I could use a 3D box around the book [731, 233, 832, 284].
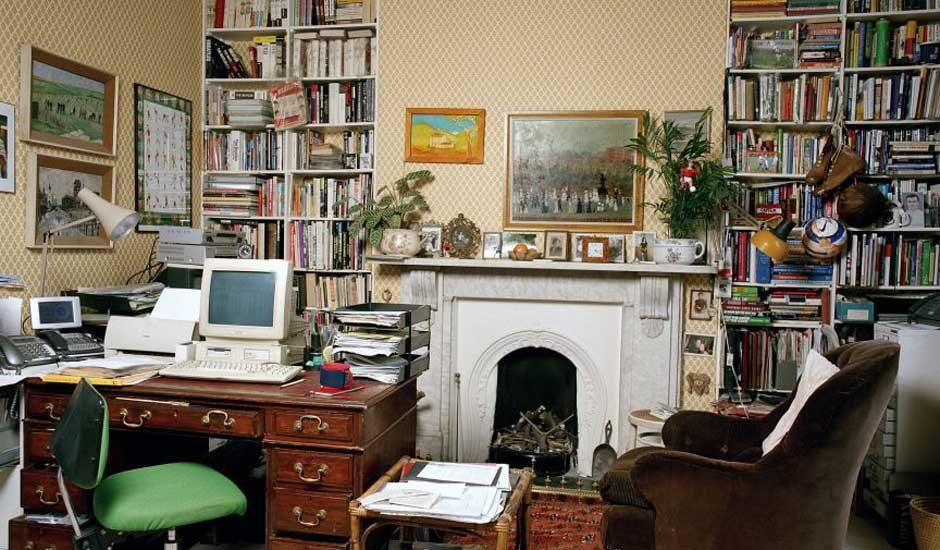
[{"bbox_3d":[2.490,-0.152,6.498,0.610,0.299,0.445,0,3,-3],"label":"book"}]

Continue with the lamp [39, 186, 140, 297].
[{"bbox_3d":[-2.804,-0.246,5.887,0.740,0.811,0.431,1,1,41],"label":"lamp"}]

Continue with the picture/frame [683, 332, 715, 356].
[{"bbox_3d":[1.892,0.572,6.573,0.195,0.139,0.008,2,-1,8],"label":"picture/frame"}]

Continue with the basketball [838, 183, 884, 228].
[{"bbox_3d":[3.059,-0.555,6.374,0.294,0.370,0.303,-4,6,-15],"label":"basketball"}]

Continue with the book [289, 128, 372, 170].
[{"bbox_3d":[-1.184,-1.083,6.924,0.726,0.360,0.217,0,1,13],"label":"book"}]

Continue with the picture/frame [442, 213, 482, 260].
[{"bbox_3d":[-0.058,-0.310,6.734,0.405,0.407,0.018,0,-1,2],"label":"picture/frame"}]

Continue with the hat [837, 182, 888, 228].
[{"bbox_3d":[3.110,-0.567,6.430,0.310,0.394,0.320,-9,15,3],"label":"hat"}]

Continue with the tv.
[{"bbox_3d":[-1.490,0.170,5.649,0.879,0.789,0.498,1,-3,4],"label":"tv"}]

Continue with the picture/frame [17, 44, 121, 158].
[{"bbox_3d":[-3.070,-1.327,6.067,0.164,0.861,0.979,0,-1,33],"label":"picture/frame"}]

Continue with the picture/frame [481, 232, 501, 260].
[{"bbox_3d":[0.186,-0.241,6.715,0.238,0.323,0.030,1,-4,2],"label":"picture/frame"}]

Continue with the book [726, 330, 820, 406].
[{"bbox_3d":[2.378,0.716,6.233,0.571,0.552,0.226,1,-2,6],"label":"book"}]

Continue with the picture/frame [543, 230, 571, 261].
[{"bbox_3d":[0.714,-0.242,6.638,0.255,0.254,0.066,-4,1,6],"label":"picture/frame"}]

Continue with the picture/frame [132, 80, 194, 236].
[{"bbox_3d":[-2.589,-0.963,6.772,0.091,1.198,0.587,1,1,27],"label":"picture/frame"}]

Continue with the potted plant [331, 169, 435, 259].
[{"bbox_3d":[-0.702,-0.553,6.727,0.672,0.485,0.675,-4,38,6],"label":"potted plant"}]

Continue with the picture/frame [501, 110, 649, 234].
[{"bbox_3d":[0.923,-0.883,6.645,1.008,0.835,0.078,3,1,2],"label":"picture/frame"}]

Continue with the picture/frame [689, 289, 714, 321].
[{"bbox_3d":[1.906,0.250,6.572,0.252,0.338,0.045,1,-4,6],"label":"picture/frame"}]

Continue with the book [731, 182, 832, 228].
[{"bbox_3d":[2.533,-0.579,6.508,0.581,0.197,0.431,1,2,13],"label":"book"}]

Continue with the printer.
[{"bbox_3d":[-2.193,0.345,5.671,0.520,0.521,0.553,0,-3,6],"label":"printer"}]

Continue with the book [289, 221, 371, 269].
[{"bbox_3d":[-1.210,-0.249,7.016,0.711,0.642,0.396,1,1,1],"label":"book"}]

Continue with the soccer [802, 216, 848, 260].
[{"bbox_3d":[2.803,-0.295,6.316,0.328,0.252,0.325,-36,49,-27],"label":"soccer"}]

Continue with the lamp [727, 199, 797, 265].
[{"bbox_3d":[2.264,-0.348,6.290,0.488,0.497,0.568,0,0,18],"label":"lamp"}]

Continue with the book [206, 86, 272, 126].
[{"bbox_3d":[-2.034,-1.461,6.916,0.425,0.154,0.452,0,1,-2],"label":"book"}]

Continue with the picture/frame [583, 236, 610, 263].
[{"bbox_3d":[1.025,-0.206,6.549,0.208,0.206,0.023,1,-11,9],"label":"picture/frame"}]

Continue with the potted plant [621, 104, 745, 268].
[{"bbox_3d":[1.694,-0.710,6.431,0.848,1.223,0.457,1,1,17],"label":"potted plant"}]
